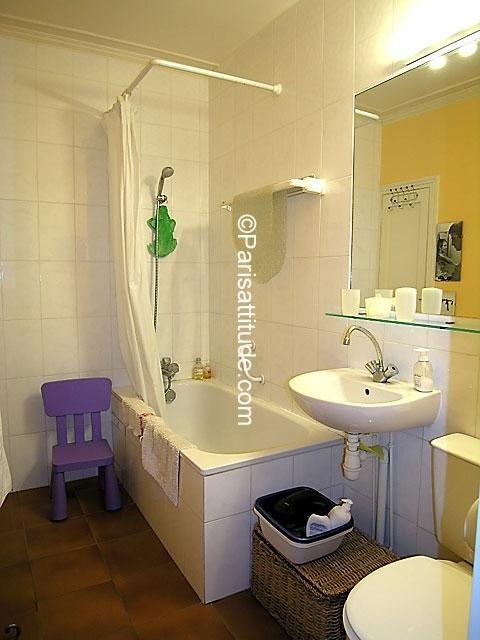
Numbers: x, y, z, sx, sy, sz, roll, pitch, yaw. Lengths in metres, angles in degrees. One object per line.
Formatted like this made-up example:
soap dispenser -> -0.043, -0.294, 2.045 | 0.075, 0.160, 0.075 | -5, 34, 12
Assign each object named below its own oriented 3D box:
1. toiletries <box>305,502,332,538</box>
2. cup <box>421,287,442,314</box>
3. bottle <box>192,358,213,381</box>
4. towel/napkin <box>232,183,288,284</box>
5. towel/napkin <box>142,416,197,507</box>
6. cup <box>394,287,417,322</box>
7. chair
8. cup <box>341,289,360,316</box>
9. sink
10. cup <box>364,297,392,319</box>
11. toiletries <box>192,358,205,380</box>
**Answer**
toiletries -> 0.260, 0.644, 1.601 | 0.061, 0.142, 0.068 | -2, 7, -30
cup -> 0.627, -0.058, 1.581 | 0.058, 0.123, 0.070 | 2, -2, 22
bottle -> -0.255, 0.336, 3.245 | 0.137, 0.177, 0.086 | 5, -8, -26
towel/napkin -> 0.107, -0.433, 2.383 | 0.050, 0.617, 0.432 | -6, 13, -24
towel/napkin -> -0.311, 0.610, 2.037 | 0.074, 0.243, 0.373 | -7, 9, -20
cup -> 0.539, -0.047, 1.568 | 0.059, 0.105, 0.071 | 1, 4, 18
chair -> -0.845, 0.650, 2.554 | 0.363, 0.621, 0.507 | -2, 5, -25
cup -> 0.408, -0.064, 1.789 | 0.074, 0.109, 0.079 | 1, 3, 0
sink -> 0.386, 0.307, 1.689 | 0.421, 0.170, 0.506 | -2, 5, -28
cup -> 0.473, -0.031, 1.653 | 0.065, 0.084, 0.076 | 0, -3, -12
toiletries -> -0.279, 0.324, 3.208 | 0.076, 0.132, 0.118 | 0, 4, -4
